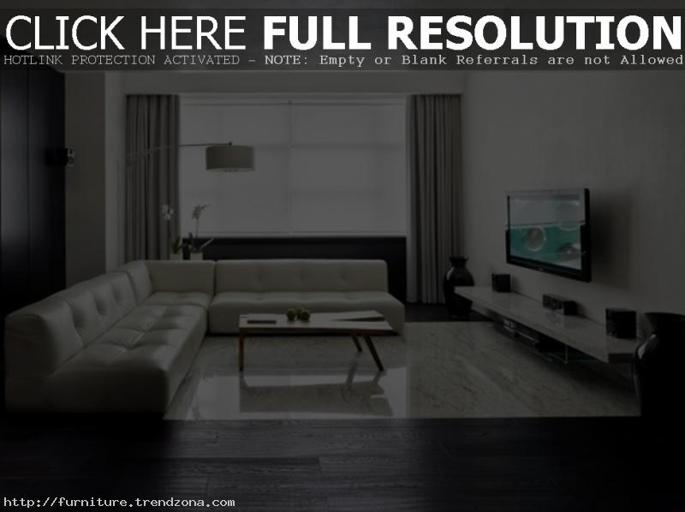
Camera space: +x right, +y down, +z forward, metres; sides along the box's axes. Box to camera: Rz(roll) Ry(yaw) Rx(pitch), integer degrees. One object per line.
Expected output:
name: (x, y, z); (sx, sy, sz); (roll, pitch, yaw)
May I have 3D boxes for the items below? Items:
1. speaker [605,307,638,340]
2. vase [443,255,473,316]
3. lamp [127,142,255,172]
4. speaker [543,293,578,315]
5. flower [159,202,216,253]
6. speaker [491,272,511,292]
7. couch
speaker: (2.103, 0.503, 4.058); (0.177, 0.267, 0.261); (1, 0, 11)
vase: (1.404, 0.399, 6.521); (0.345, 0.720, 0.443); (2, 8, 11)
lamp: (-1.935, -1.332, 6.957); (1.398, 0.415, 2.221); (-5, 11, -32)
speaker: (2.010, 0.453, 4.941); (0.167, 0.134, 0.438); (-1, 9, -11)
flower: (-2.240, -0.370, 7.540); (0.757, 0.954, 0.603); (1, 1, 18)
speaker: (1.772, 0.315, 5.970); (0.146, 0.230, 0.293); (1, -2, 3)
couch: (-0.832, 0.556, 4.861); (2.898, 0.780, 2.742); (0, 9, -1)
